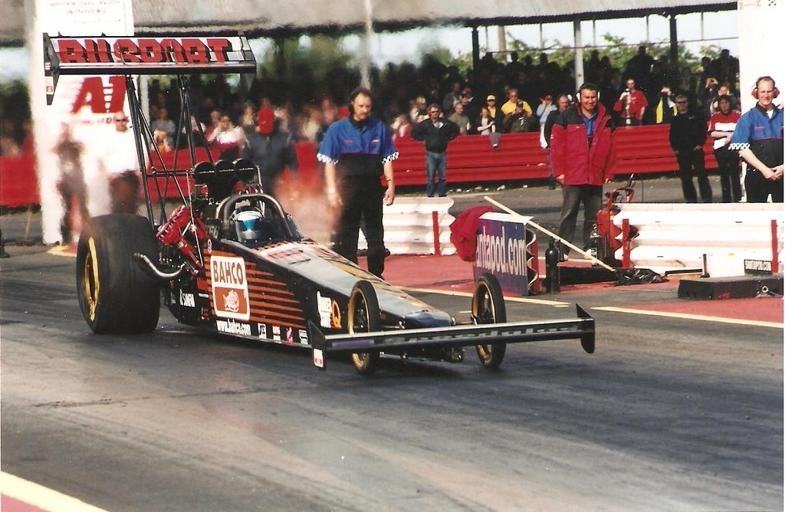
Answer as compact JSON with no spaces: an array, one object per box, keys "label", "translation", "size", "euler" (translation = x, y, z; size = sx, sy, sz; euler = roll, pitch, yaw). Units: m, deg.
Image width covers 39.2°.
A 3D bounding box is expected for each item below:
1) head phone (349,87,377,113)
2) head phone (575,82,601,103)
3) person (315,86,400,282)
[{"label":"head phone","translation":[-0.345,-1.828,12.900],"size":[0.251,0.333,0.331],"euler":[1,9,2]},{"label":"head phone","translation":[2.664,-2.212,15.125],"size":[0.298,0.355,0.377],"euler":[-1,2,1]},{"label":"person","translation":[-0.375,-0.762,13.118],"size":[0.907,2.329,0.611],"euler":[-3,17,-5]}]
